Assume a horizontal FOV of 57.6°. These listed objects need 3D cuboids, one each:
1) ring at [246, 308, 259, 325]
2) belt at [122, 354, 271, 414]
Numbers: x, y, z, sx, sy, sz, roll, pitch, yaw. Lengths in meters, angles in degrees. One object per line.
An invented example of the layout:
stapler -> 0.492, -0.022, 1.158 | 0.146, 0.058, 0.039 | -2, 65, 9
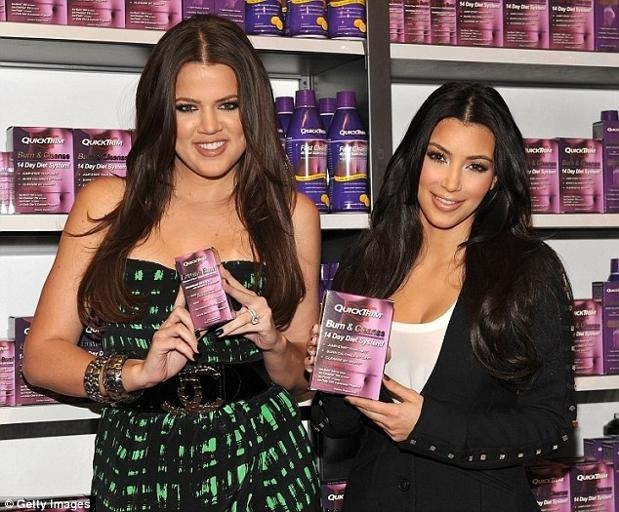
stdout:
ring -> -0.128, 0.138, 1.292 | 0.017, 0.034, 0.028 | -26, -5, 4
belt -> -0.249, 0.308, 1.307 | 0.240, 0.044, 0.146 | -7, 1, -20
